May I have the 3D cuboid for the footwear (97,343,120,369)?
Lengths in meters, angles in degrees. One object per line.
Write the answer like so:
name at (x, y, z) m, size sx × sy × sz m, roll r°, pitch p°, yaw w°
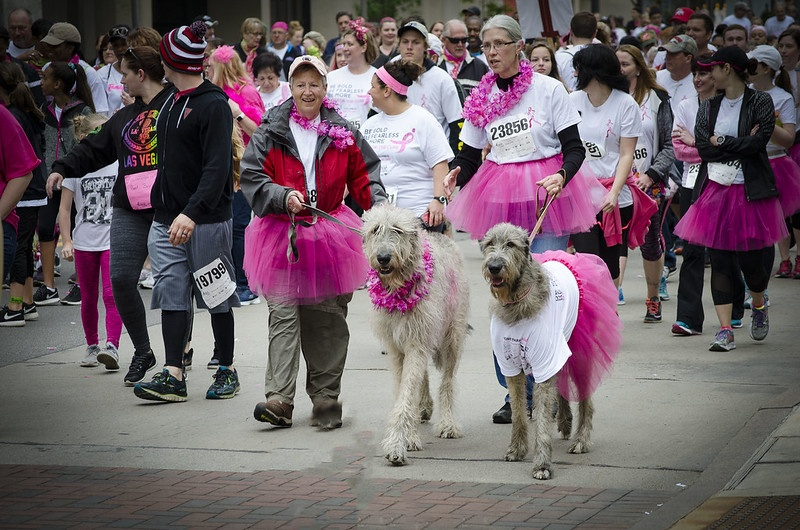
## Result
footwear at (-2.975, 0.936, 8.818) m, size 0.208 × 0.278 × 0.273 m, roll -5°, pitch 11°, yaw -21°

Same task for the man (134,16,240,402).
man at (-1.919, -0.465, 7.839) m, size 0.851 × 3.381 × 0.687 m, roll -3°, pitch 10°, yaw -13°

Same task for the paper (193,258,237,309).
paper at (-1.691, 0.158, 7.850) m, size 0.320 × 0.331 × 0.046 m, roll -35°, pitch 15°, yaw -16°

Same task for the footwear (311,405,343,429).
footwear at (-0.618, 1.271, 7.256) m, size 0.216 × 0.205 × 0.174 m, roll 9°, pitch -8°, yaw -2°

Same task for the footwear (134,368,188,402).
footwear at (-2.150, 1.092, 7.838) m, size 0.213 × 0.306 × 0.533 m, roll -6°, pitch -10°, yaw 32°

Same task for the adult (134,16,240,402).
adult at (-1.919, -0.464, 7.837) m, size 0.851 × 3.381 × 0.688 m, roll -3°, pitch 10°, yaw -13°

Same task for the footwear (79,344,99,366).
footwear at (-3.209, 0.955, 8.950) m, size 0.195 × 0.193 × 0.262 m, roll -5°, pitch 12°, yaw -21°

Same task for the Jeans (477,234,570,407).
Jeans at (1.061, 0.329, 7.811) m, size 0.415 × 2.069 × 1.066 m, roll 5°, pitch -5°, yaw 25°

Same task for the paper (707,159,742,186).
paper at (3.511, -1.007, 9.361) m, size 0.239 × 0.183 × 0.032 m, roll 7°, pitch -1°, yaw 36°

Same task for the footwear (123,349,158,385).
footwear at (-2.540, 0.979, 8.449) m, size 0.155 × 0.216 × 0.491 m, roll -4°, pitch 18°, yaw 22°

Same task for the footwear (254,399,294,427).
footwear at (-1.020, 1.224, 7.161) m, size 0.156 × 0.190 × 0.351 m, roll -18°, pitch -37°, yaw 38°

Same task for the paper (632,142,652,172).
paper at (2.809, -1.249, 10.084) m, size 0.105 × 0.361 × 0.457 m, roll 5°, pitch 12°, yaw 31°

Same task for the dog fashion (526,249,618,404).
dog fashion at (1.433, 0.502, 6.968) m, size 0.809 × 1.099 × 0.446 m, roll -3°, pitch -23°, yaw 44°

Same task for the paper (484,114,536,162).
paper at (0.963, -1.112, 7.490) m, size 0.349 × 0.327 × 0.062 m, roll -5°, pitch 9°, yaw 32°
